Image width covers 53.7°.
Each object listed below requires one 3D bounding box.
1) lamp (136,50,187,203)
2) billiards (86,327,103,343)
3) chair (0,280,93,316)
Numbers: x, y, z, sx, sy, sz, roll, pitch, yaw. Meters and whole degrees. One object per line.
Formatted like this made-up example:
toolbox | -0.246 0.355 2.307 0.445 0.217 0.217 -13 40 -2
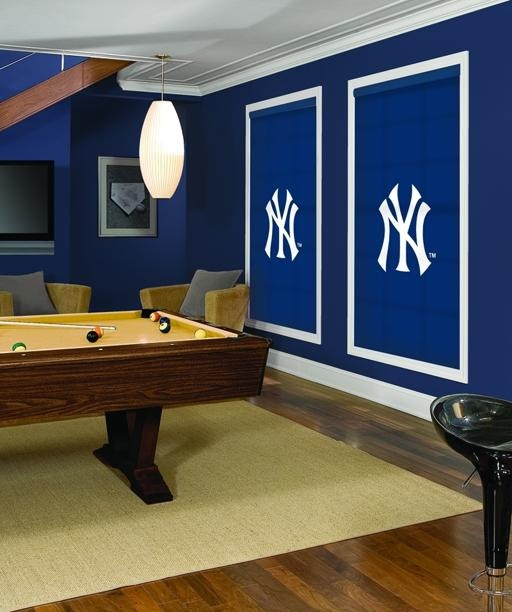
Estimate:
lamp | -0.757 -1.263 4.058 0.338 0.759 0.273 0 1 -4
billiards | -0.725 0.126 2.283 0.038 0.035 0.128 -9 1 -1
chair | -1.810 -0.079 4.548 0.388 0.343 0.371 -1 2 -42
